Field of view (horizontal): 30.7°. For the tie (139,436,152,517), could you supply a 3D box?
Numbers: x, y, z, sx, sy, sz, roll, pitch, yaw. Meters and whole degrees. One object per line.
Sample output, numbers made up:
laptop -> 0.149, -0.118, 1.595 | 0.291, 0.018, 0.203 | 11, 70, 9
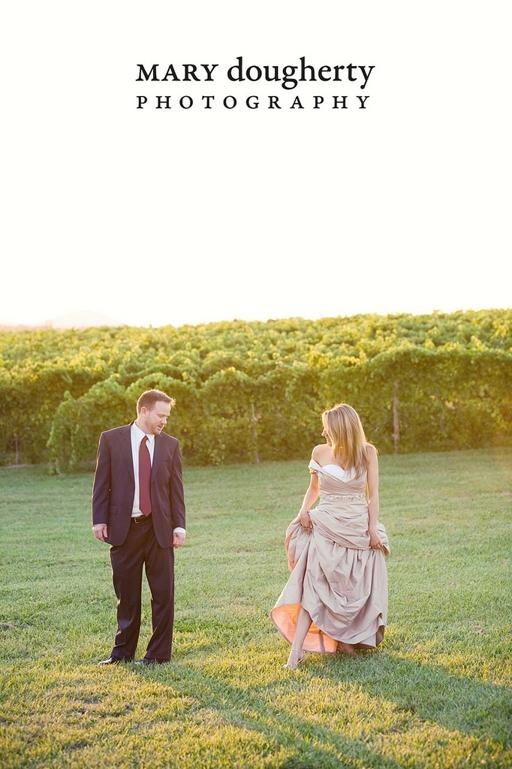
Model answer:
tie -> -0.778, 0.638, 6.490 | 0.085, 0.484, 0.126 | -2, -1, -2

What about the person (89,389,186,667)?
person -> -0.820, 0.998, 6.520 | 0.638, 1.661, 0.293 | -2, -1, -10

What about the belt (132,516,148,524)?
belt -> -0.806, 0.930, 6.435 | 0.061, 0.033, 0.050 | -2, 2, 14

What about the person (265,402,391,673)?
person -> 0.556, 1.044, 6.794 | 0.899, 1.779, 0.511 | -2, -1, -21
